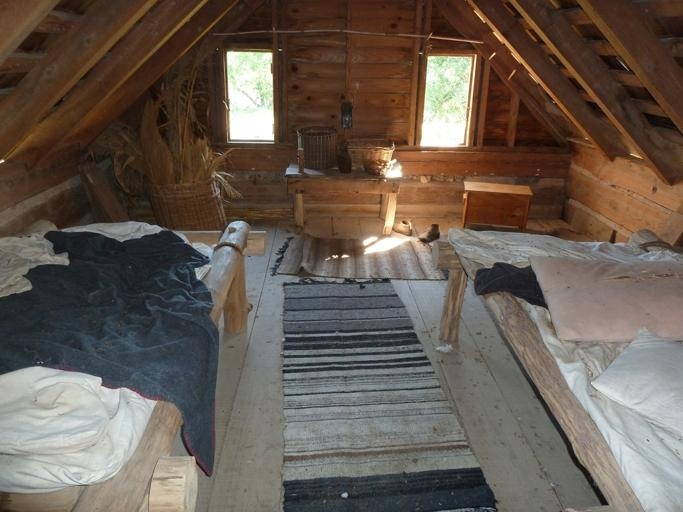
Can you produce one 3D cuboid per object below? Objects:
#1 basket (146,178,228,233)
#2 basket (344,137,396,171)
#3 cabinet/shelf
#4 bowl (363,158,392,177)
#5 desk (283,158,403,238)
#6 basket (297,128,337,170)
[{"bbox_3d":[-1.442,-0.463,4.783,0.711,0.408,0.577,-5,27,0],"label":"basket"},{"bbox_3d":[0.302,-1.099,5.216,0.400,0.187,0.515,14,26,30],"label":"basket"},{"bbox_3d":[1.626,-0.530,5.319,0.761,0.402,0.375,2,27,-6],"label":"cabinet/shelf"},{"bbox_3d":[0.362,-0.894,4.973,0.267,0.151,0.261,2,18,-1],"label":"bowl"},{"bbox_3d":[0.009,-0.564,5.089,1.111,0.481,0.339,0,15,-6],"label":"desk"},{"bbox_3d":[-0.255,-1.113,5.090,0.400,0.425,0.410,1,20,-5],"label":"basket"}]
